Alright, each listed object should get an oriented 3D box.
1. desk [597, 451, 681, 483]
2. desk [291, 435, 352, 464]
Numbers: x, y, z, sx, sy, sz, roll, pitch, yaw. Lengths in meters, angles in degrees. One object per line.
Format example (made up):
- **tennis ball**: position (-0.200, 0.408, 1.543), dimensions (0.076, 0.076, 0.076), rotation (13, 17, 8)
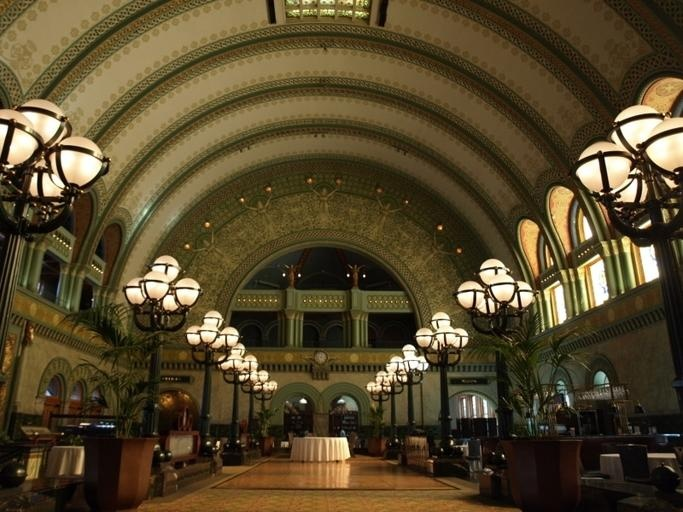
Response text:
- **desk**: position (4.578, 3.181, 7.564), dimensions (0.908, 0.374, 1.626), rotation (-7, -23, 13)
- **desk**: position (-0.623, 5.382, 13.813), dimensions (1.511, 0.661, 1.098), rotation (1, -22, -6)
